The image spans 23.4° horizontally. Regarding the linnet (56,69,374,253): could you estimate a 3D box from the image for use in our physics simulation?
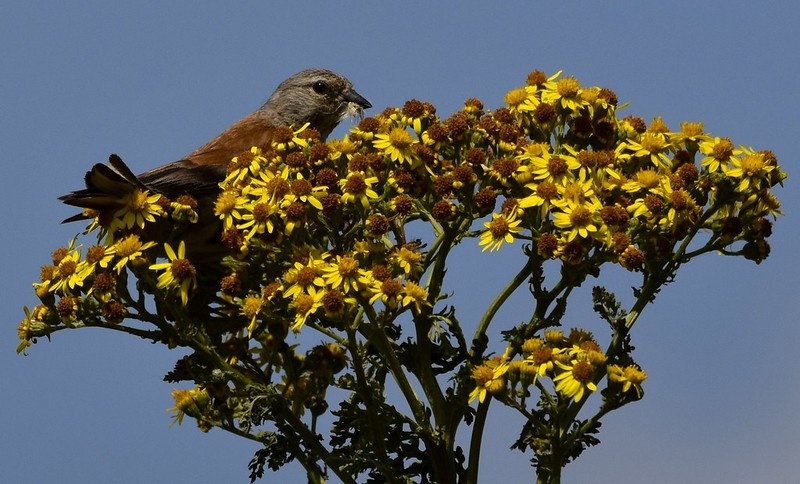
[{"bbox_3d":[-0.617,-0.737,14.834,3.097,1.085,1.803,-4,-83,-12],"label":"linnet"}]
